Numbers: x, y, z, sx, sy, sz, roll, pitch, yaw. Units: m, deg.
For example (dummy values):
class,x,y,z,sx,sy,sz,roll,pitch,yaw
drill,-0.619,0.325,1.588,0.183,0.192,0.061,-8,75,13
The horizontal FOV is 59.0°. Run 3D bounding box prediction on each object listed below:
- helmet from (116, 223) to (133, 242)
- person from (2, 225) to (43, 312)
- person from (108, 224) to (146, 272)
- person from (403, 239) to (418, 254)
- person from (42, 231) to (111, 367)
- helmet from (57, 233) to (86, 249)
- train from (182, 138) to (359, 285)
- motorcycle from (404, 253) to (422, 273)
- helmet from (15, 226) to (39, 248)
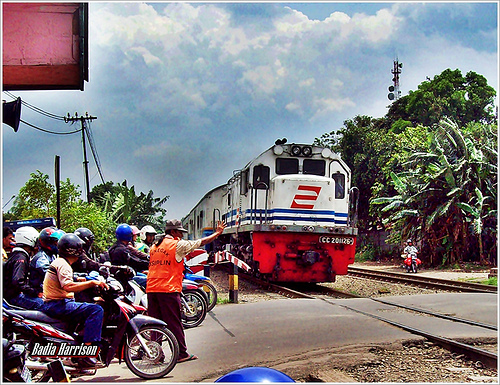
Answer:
class,x,y,z,sx,sy,sz,roll,pitch,yaw
helmet,-2.331,0.744,8.134,0.285,0.332,0.340,5,-6,-19
person,-3.160,1.033,6.161,0.519,1.032,1.404,5,-7,-26
person,-2.204,1.002,7.915,0.448,0.580,0.941,1,-10,-21
person,7.149,2.407,19.750,0.431,0.650,1.238,0,-7,20
person,-2.390,1.434,6.022,0.829,1.730,1.136,5,-6,-25
helmet,-2.361,0.639,5.780,0.292,0.197,0.221,6,-7,-27
train,4.722,1.176,21.285,3.719,4.813,17.452,5,-1,24
motorcycle,7.250,3.277,20.135,0.518,0.740,1.298,-3,-18,-8
helmet,-3.451,0.676,6.784,0.314,0.327,0.260,-5,2,-15
